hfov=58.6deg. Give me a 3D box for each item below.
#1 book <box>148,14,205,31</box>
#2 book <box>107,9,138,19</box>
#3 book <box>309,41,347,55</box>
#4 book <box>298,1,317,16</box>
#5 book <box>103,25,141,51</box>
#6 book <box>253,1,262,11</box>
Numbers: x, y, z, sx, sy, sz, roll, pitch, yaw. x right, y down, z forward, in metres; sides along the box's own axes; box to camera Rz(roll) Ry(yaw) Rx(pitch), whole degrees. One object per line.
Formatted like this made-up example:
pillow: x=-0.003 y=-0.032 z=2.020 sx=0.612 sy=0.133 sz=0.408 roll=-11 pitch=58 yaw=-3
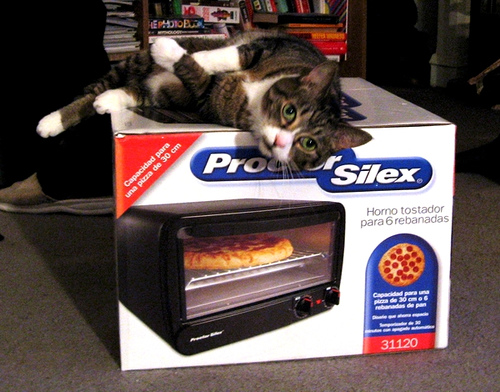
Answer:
book: x=-0.395 y=-0.908 z=2.325 sx=0.181 sy=0.038 sz=0.156 roll=-5 pitch=13 yaw=-25
book: x=-0.619 y=-0.878 z=2.132 sx=0.092 sy=0.021 sz=0.088 roll=-3 pitch=14 yaw=-21
book: x=0.456 y=-0.829 z=2.475 sx=0.239 sy=0.052 sz=0.232 roll=2 pitch=13 yaw=-5
book: x=0.341 y=-1.118 z=2.629 sx=0.103 sy=0.055 sz=0.041 roll=-12 pitch=32 yaw=-9
book: x=-0.611 y=-0.747 z=2.109 sx=0.170 sy=0.056 sz=0.135 roll=3 pitch=13 yaw=17
book: x=0.042 y=-1.095 z=2.549 sx=0.046 sy=0.059 sz=0.015 roll=-5 pitch=-4 yaw=24
